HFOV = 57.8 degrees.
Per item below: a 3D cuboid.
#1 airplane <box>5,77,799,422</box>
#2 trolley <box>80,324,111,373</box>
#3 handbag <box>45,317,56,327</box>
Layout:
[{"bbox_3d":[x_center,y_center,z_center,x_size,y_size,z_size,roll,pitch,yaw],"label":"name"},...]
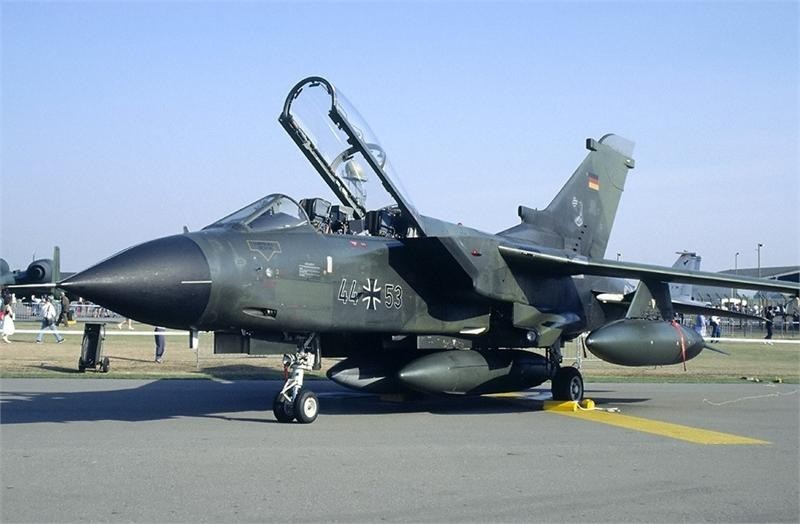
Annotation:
[{"bbox_3d":[-0.025,-0.262,12.789,10.386,5.760,2.326,1,-6,-22],"label":"airplane"},{"bbox_3d":[-7.537,2.103,17.761,0.876,1.180,0.839,-1,-9,12],"label":"trolley"},{"bbox_3d":[-12.940,2.265,26.884,0.486,0.322,0.465,-1,2,-30],"label":"handbag"}]
